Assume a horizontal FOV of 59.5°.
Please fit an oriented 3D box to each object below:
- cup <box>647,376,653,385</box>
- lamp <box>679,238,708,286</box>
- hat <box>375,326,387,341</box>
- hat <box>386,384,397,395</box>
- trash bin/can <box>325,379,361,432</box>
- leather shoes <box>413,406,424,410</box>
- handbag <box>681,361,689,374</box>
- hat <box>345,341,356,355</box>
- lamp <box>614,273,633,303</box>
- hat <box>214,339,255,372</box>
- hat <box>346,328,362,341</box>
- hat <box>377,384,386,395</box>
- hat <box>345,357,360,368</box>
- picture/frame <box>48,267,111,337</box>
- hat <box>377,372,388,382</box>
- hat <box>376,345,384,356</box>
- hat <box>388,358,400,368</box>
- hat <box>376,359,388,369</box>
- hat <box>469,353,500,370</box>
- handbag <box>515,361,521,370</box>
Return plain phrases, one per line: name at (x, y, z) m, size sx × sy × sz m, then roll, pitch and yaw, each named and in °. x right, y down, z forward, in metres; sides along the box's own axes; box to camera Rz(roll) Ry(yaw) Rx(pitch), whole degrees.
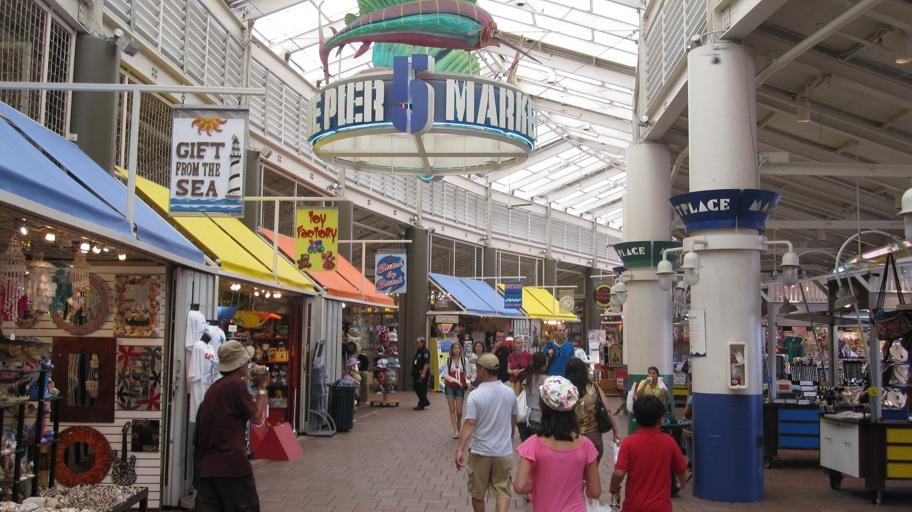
cup at (3.625, 2.327, 14.958) m, size 0.122 × 0.116 × 0.121 m, roll 3°, pitch -5°, yaw 0°
lamp at (4.186, 0.061, 13.901) m, size 0.400 × 0.845 × 0.675 m, roll -3°, pitch -11°, yaw 17°
hat at (-2.595, 2.671, 27.586) m, size 0.483 × 0.424 × 0.425 m, roll -5°, pitch 1°, yaw -14°
hat at (-2.204, 4.510, 27.063) m, size 0.214 × 0.241 × 0.677 m, roll -3°, pitch -13°, yaw 3°
trash bin/can at (-2.811, 3.653, 19.497) m, size 1.139 × 1.356 × 1.086 m, roll 2°, pitch -4°, yaw -6°
leather shoes at (-1.138, 4.522, 23.695) m, size 0.258 × 0.100 × 0.114 m, roll 0°, pitch -9°, yaw 2°
handbag at (7.629, 3.711, 26.576) m, size 0.374 × 0.443 × 0.322 m, roll 3°, pitch 4°, yaw 11°
hat at (-2.884, 2.522, 21.971) m, size 0.213 × 0.324 × 0.431 m, roll -7°, pitch -13°, yaw 35°
lamp at (3.784, 0.688, 18.281) m, size 0.446 × 0.709 × 0.723 m, roll -1°, pitch -11°, yaw 8°
hat at (-3.203, 1.404, 11.370) m, size 0.491 × 0.227 × 0.430 m, roll -27°, pitch 19°, yaw -23°
hat at (-3.659, 2.776, 28.612) m, size 0.343 × 0.484 × 0.540 m, roll 0°, pitch -11°, yaw 2°
hat at (-2.318, 4.150, 24.946) m, size 0.258 × 0.305 × 0.710 m, roll 1°, pitch -11°, yaw -6°
hat at (-2.863, 2.899, 21.766) m, size 0.325 × 0.251 × 0.247 m, roll 5°, pitch -3°, yaw 33°
picture/frame at (-6.471, 0.812, 13.576) m, size 1.265 × 1.161 × 0.058 m, roll 4°, pitch 4°, yaw -2°
hat at (-2.359, 3.855, 25.520) m, size 0.292 × 0.304 × 0.655 m, roll 1°, pitch -11°, yaw -6°
hat at (-2.555, 3.144, 26.713) m, size 0.287 × 0.286 × 0.292 m, roll 3°, pitch -23°, yaw -3°
hat at (-2.089, 3.615, 26.460) m, size 0.343 × 0.374 × 0.382 m, roll -4°, pitch 15°, yaw 0°
hat at (-2.402, 3.450, 25.821) m, size 0.324 × 0.345 × 0.651 m, roll 1°, pitch -11°, yaw -6°
hat at (0.456, 1.553, 11.808) m, size 0.307 × 0.147 × 0.217 m, roll 6°, pitch 4°, yaw 37°
handbag at (1.359, 2.442, 17.554) m, size 0.112 × 0.095 × 0.237 m, roll 4°, pitch 22°, yaw 1°
